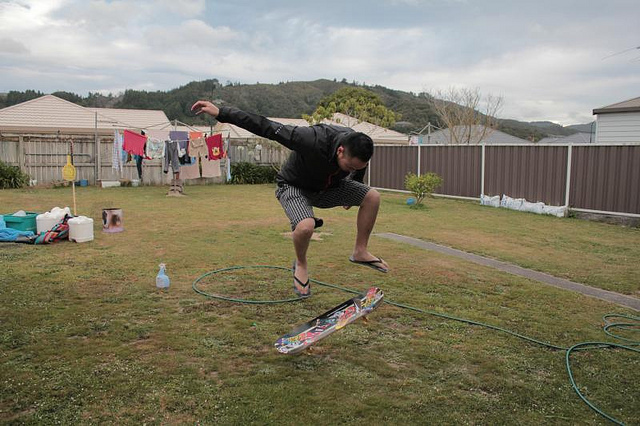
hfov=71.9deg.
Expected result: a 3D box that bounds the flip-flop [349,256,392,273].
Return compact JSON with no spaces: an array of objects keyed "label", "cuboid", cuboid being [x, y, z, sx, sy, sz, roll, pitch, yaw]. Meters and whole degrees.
[{"label":"flip-flop","cuboid":[0.681,0.740,6.053,0.579,0.131,0.201,11,5,-9]}]

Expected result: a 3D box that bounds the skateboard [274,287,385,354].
[{"label":"skateboard","cuboid":[0.112,1.280,5.162,1.067,0.152,0.253,-24,34,-27]}]

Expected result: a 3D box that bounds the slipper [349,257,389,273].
[{"label":"slipper","cuboid":[0.673,0.694,6.057,0.511,0.125,0.175,15,-1,-6]}]

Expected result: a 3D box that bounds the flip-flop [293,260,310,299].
[{"label":"flip-flop","cuboid":[-0.278,0.829,5.553,0.184,0.465,0.124,-18,0,-18]}]

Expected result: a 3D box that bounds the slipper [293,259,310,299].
[{"label":"slipper","cuboid":[-0.259,0.819,5.587,0.183,0.508,0.128,-4,-18,-25]}]
